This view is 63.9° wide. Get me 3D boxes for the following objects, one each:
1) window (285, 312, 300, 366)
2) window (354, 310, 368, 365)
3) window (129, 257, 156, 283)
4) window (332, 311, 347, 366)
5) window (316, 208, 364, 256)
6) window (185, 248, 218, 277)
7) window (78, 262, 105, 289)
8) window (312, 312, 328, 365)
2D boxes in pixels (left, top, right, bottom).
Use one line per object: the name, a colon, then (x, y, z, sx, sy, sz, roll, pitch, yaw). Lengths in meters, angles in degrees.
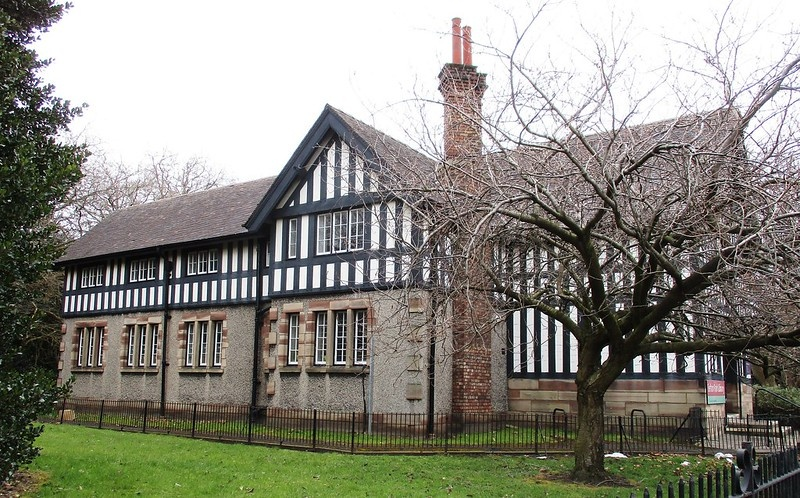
window: (-4.160, 3.582, 25.737, 0.568, 1.949, 0.094, -4, -15, 12)
window: (-1.482, 3.298, 24.123, 0.701, 2.015, 0.307, -10, -19, 36)
window: (-12.532, 1.037, 31.271, 1.242, 0.834, 0.090, -8, -21, 25)
window: (-2.283, 3.391, 24.657, 0.622, 2.035, 0.329, -5, -17, 22)
window: (-2.243, -0.676, 24.880, 1.922, 1.309, 0.139, -6, -15, 36)
window: (-9.028, 0.622, 29.324, 1.285, 0.799, 0.135, -6, -18, 26)
window: (-15.861, 1.363, 33.031, 1.360, 0.909, 0.090, -10, -21, 29)
window: (-3.088, 3.463, 25.102, 0.681, 2.043, 0.399, -13, -21, 41)
